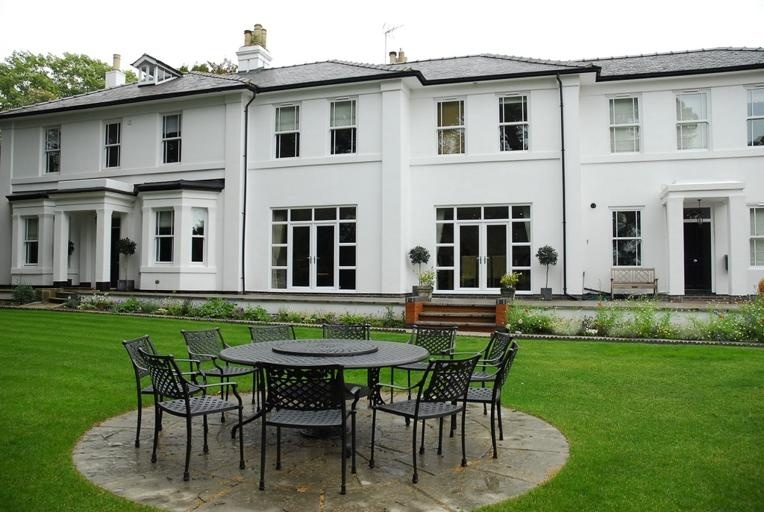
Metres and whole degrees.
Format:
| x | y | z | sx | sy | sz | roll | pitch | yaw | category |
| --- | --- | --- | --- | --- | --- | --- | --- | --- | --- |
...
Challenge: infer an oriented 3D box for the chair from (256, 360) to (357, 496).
| x | y | z | sx | sy | sz | roll | pitch | yaw | category |
| --- | --- | --- | --- | --- | --- | --- | --- | --- | --- |
| -1.173 | 2.793 | 10.854 | 1.866 | 2.652 | 1.855 | 0 | -1 | 7 | chair |

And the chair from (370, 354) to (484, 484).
| x | y | z | sx | sy | sz | roll | pitch | yaw | category |
| --- | --- | --- | --- | --- | --- | --- | --- | --- | --- |
| 0.738 | 2.710 | 11.028 | 1.839 | 2.137 | 1.793 | 2 | 0 | -6 | chair |

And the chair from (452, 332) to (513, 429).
| x | y | z | sx | sy | sz | roll | pitch | yaw | category |
| --- | --- | --- | --- | --- | --- | --- | --- | --- | --- |
| 1.806 | 2.443 | 11.541 | 1.193 | 1.805 | 1.105 | 6 | 0 | 10 | chair |

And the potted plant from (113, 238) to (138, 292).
| x | y | z | sx | sy | sz | roll | pitch | yaw | category |
| --- | --- | --- | --- | --- | --- | --- | --- | --- | --- |
| -9.949 | 0.275 | 24.227 | 0.815 | 1.941 | 1.168 | -6 | 14 | -22 | potted plant |

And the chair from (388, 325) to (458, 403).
| x | y | z | sx | sy | sz | roll | pitch | yaw | category |
| --- | --- | --- | --- | --- | --- | --- | --- | --- | --- |
| 1.039 | 2.319 | 13.311 | 1.283 | 1.523 | 1.324 | -7 | -25 | 23 | chair |

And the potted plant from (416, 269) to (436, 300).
| x | y | z | sx | sy | sz | roll | pitch | yaw | category |
| --- | --- | --- | --- | --- | --- | --- | --- | --- | --- |
| 1.483 | 0.953 | 21.043 | 0.949 | 1.259 | 0.822 | 0 | -5 | 1 | potted plant |

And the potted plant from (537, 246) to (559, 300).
| x | y | z | sx | sy | sz | roll | pitch | yaw | category |
| --- | --- | --- | --- | --- | --- | --- | --- | --- | --- |
| 5.575 | 0.528 | 20.993 | 0.719 | 1.702 | 0.840 | 3 | 13 | 15 | potted plant |

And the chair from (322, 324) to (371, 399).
| x | y | z | sx | sy | sz | roll | pitch | yaw | category |
| --- | --- | --- | --- | --- | --- | --- | --- | --- | --- |
| -0.726 | 2.133 | 13.615 | 1.224 | 1.601 | 1.050 | 0 | -7 | 6 | chair |
